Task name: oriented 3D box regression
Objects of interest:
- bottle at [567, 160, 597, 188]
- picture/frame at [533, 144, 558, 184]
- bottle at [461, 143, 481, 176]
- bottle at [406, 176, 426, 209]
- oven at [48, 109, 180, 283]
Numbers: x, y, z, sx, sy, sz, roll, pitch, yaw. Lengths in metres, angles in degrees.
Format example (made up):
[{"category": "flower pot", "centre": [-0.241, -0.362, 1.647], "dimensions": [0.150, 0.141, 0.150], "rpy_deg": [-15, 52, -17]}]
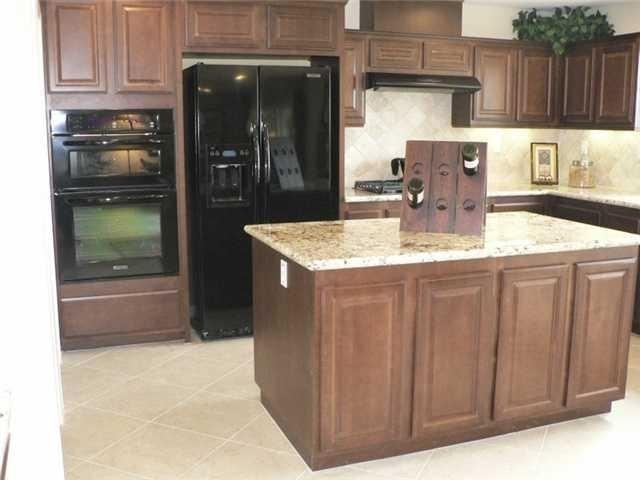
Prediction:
[{"category": "bottle", "centre": [2.575, -0.675, 5.267], "dimensions": [0.285, 0.283, 0.299], "rpy_deg": [-3, 14, -9]}, {"category": "picture/frame", "centre": [2.348, -0.791, 5.481], "dimensions": [0.270, 0.415, 0.134], "rpy_deg": [4, 13, 17]}, {"category": "bottle", "centre": [0.779, -0.412, 2.696], "dimensions": [0.093, 0.167, 0.072], "rpy_deg": [1, 12, 5]}, {"category": "bottle", "centre": [0.507, -0.242, 2.775], "dimensions": [0.091, 0.165, 0.068], "rpy_deg": [2, 12, 9]}, {"category": "oven", "centre": [-1.551, -0.342, 4.231], "dimensions": [1.141, 1.253, 1.078], "rpy_deg": [-3, 0, -30]}]
